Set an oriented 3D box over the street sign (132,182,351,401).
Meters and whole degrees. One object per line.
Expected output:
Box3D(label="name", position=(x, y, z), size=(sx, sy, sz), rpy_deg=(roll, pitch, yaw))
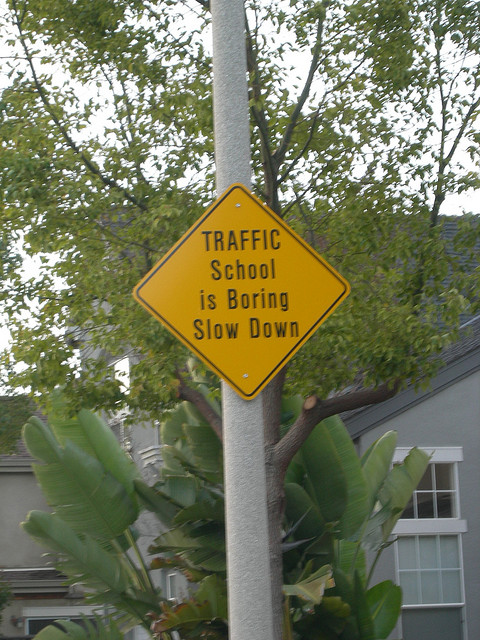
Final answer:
Box3D(label="street sign", position=(-0.008, -0.172, 8.607), size=(1.554, 1.406, 0.059), rpy_deg=(0, 5, 22))
